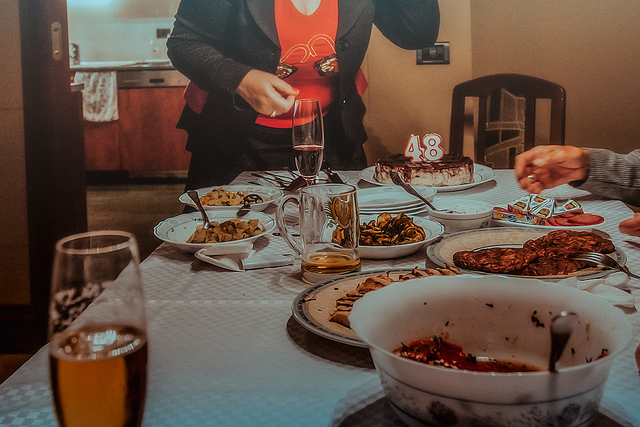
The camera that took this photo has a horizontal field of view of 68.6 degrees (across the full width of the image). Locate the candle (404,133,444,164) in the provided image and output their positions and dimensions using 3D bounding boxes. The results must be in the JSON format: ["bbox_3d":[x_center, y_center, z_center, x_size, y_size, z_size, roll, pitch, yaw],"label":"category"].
[{"bbox_3d":[0.406,-0.256,1.824,0.163,0.102,0.018,5,18,35],"label":"candle"}]

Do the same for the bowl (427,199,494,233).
[{"bbox_3d":[0.357,-0.015,1.188,0.125,0.038,0.115,-3,11,1],"label":"bowl"}]

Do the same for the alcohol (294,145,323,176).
[{"bbox_3d":[-0.032,-0.161,1.398,0.101,0.087,0.088,0,5,1],"label":"alcohol"}]

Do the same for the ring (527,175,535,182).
[{"bbox_3d":[0.669,-0.116,1.483,0.013,0.018,0.020,-9,4,-26],"label":"ring"}]

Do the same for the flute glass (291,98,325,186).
[{"bbox_3d":[-0.059,-0.220,1.447,0.089,0.254,0.102,7,13,15],"label":"flute glass"}]

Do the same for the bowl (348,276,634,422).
[{"bbox_3d":[0.197,0.101,0.483,0.259,0.075,0.232,0,3,2],"label":"bowl"}]

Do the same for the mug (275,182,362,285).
[{"bbox_3d":[0.013,0.039,0.971,0.147,0.220,0.142,-8,16,-32],"label":"mug"}]

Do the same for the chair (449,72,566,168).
[{"bbox_3d":[1.138,-0.516,2.935,0.588,0.658,1.603,2,15,22],"label":"chair"}]

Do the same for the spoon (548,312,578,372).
[{"bbox_3d":[0.242,0.122,0.471,0.023,0.071,0.065,4,18,27],"label":"spoon"}]

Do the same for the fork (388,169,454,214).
[{"bbox_3d":[0.310,-0.067,1.412,0.236,0.040,0.048,33,59,22],"label":"fork"}]

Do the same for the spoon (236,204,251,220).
[{"bbox_3d":[-0.201,-0.005,1.260,0.031,0.037,0.042,-2,6,-7],"label":"spoon"}]

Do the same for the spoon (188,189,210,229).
[{"bbox_3d":[-0.331,-0.026,1.248,0.042,0.028,0.185,-33,42,6],"label":"spoon"}]
